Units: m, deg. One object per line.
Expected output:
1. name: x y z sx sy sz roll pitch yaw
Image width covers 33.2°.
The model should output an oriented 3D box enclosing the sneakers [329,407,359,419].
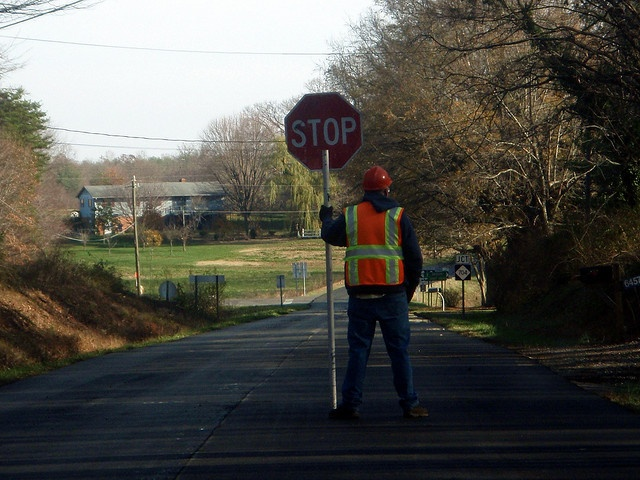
1. sneakers: 0.454 3.243 20.087 0.473 0.234 0.222 0 2 2
